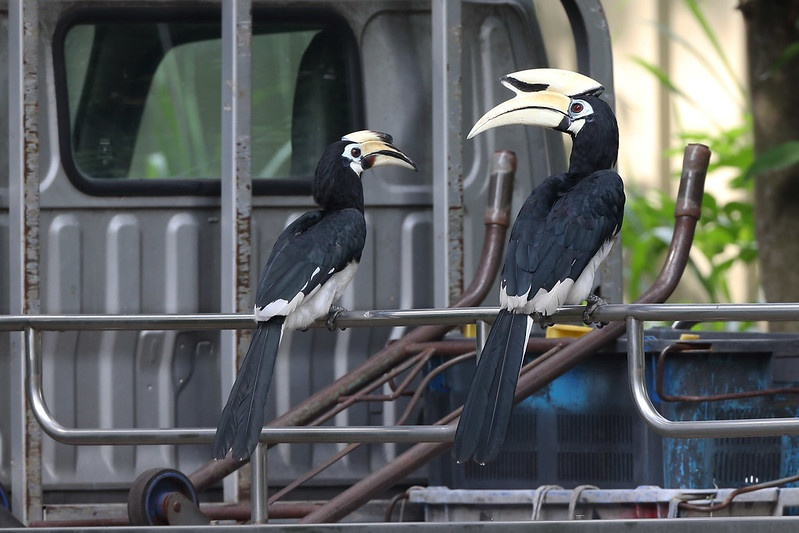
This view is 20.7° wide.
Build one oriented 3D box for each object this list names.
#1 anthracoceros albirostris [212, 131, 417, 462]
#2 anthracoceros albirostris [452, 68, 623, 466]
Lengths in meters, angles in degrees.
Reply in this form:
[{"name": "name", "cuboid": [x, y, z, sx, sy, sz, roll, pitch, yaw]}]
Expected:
[{"name": "anthracoceros albirostris", "cuboid": [-0.488, 0.111, 11.282, 0.504, 1.754, 1.011, -6, -8, 44]}, {"name": "anthracoceros albirostris", "cuboid": [0.710, -0.038, 11.197, 0.871, 2.068, 0.474, 0, -6, 5]}]
